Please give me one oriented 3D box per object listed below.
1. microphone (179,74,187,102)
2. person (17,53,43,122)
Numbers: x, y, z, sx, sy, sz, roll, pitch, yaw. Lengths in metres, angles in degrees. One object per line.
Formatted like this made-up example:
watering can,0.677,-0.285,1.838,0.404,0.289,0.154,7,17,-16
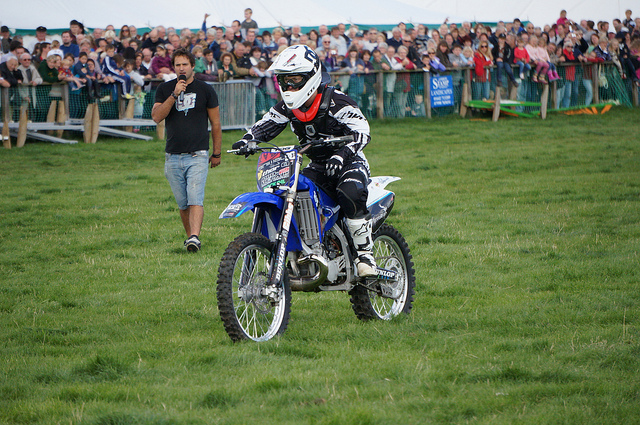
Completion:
microphone,-2.991,-2.647,27.569,0.147,0.591,0.261,0,5,-6
person,-8.157,-3.277,35.627,0.727,2.060,0.619,-5,9,-23
